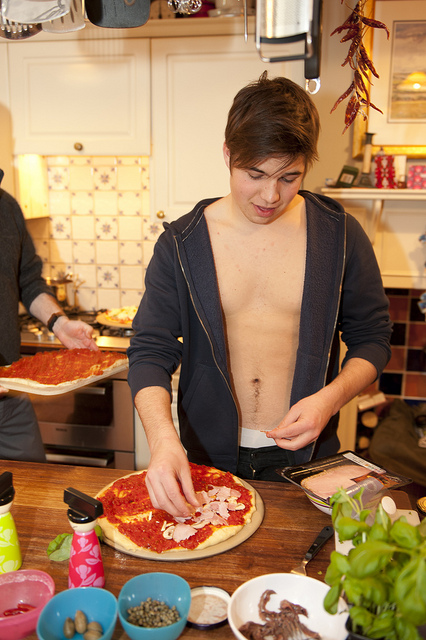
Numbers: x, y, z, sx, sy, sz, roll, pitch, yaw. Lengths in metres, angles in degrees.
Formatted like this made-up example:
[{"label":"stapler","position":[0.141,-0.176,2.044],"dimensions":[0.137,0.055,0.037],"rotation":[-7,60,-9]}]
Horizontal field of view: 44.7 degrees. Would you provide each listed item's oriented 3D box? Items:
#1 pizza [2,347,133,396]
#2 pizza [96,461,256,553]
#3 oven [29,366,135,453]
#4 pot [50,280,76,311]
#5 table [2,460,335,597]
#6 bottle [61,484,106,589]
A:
[{"label":"pizza","position":[-0.488,0.159,1.720],"dimensions":[0.396,0.080,0.397],"rotation":[2,9,7]},{"label":"pizza","position":[-0.076,0.367,1.037],"dimensions":[0.325,0.035,0.334],"rotation":[-10,16,-20]},{"label":"oven","position":[-0.519,0.405,2.545],"dimensions":[0.642,0.380,0.412],"rotation":[1,1,35]},{"label":"pot","position":[-0.843,-0.141,2.909],"dimensions":[0.109,0.182,0.193],"rotation":[0,10,-7]},{"label":"table","position":[-0.071,0.366,0.900],"dimensions":[0.514,0.086,0.446],"rotation":[2,12,10]},{"label":"bottle","position":[-0.182,0.333,0.758],"dimensions":[0.060,0.173,0.087],"rotation":[-3,11,-21]}]
